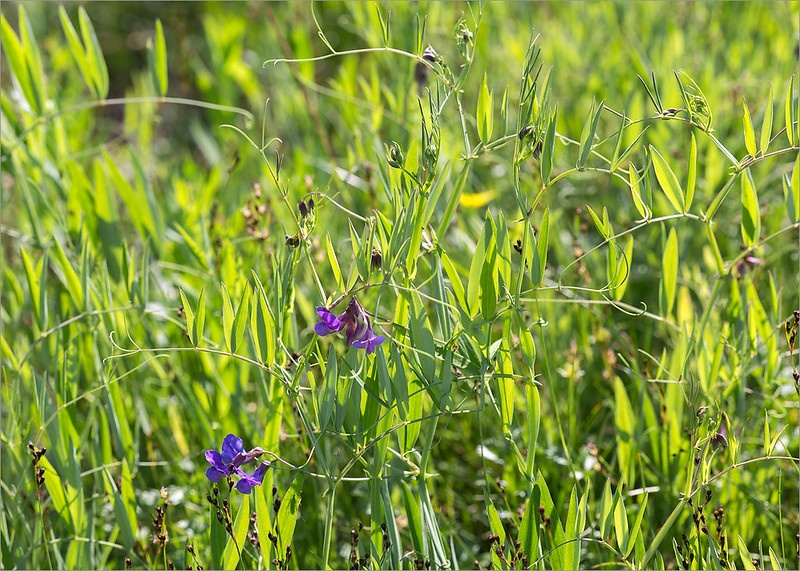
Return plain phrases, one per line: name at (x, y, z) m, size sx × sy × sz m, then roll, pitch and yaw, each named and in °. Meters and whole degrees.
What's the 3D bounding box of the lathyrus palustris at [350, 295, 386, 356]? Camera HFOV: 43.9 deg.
lathyrus palustris at (-0.085, 0.106, 2.516) m, size 0.068 × 0.103 × 0.157 m, roll -22°, pitch 75°, yaw 13°
